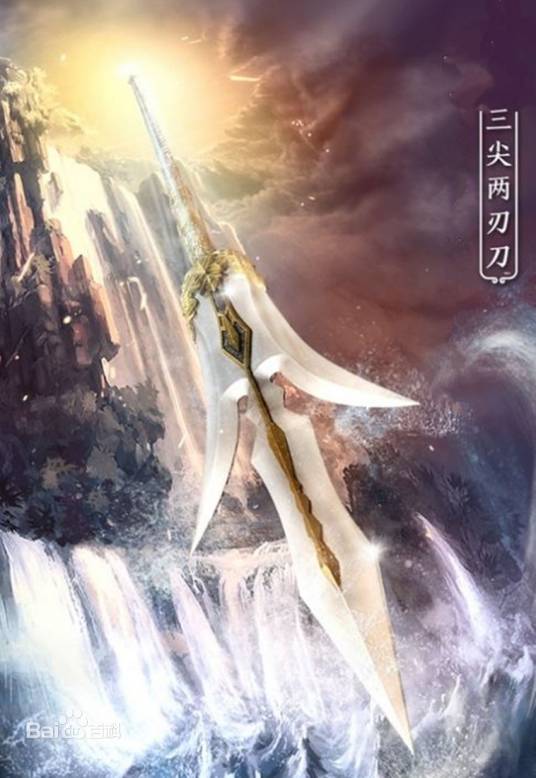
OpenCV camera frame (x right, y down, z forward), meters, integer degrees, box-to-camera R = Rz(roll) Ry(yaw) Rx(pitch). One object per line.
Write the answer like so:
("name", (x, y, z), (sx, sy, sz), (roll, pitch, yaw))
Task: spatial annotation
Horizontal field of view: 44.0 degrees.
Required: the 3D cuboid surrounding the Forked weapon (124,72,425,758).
("Forked weapon", (0.097, 0.198, 2.106), (0.593, 1.617, 0.271), (-27, -10, 13))
